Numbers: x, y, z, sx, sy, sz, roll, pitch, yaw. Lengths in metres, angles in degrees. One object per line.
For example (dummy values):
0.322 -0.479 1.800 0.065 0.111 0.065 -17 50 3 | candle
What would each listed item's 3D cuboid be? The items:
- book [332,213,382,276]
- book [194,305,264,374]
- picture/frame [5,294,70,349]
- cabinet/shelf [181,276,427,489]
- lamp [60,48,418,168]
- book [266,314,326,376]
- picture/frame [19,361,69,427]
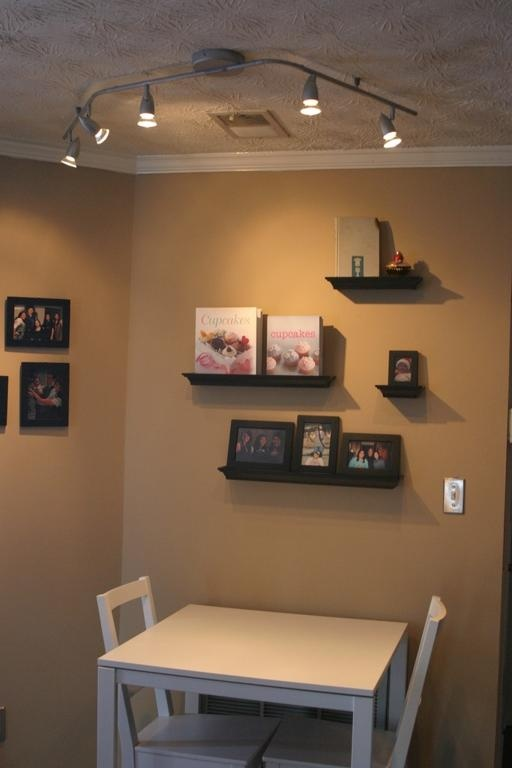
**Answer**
0.403 -0.523 2.457 0.159 0.245 0.121 1 -5 13 | book
-0.105 -0.166 2.463 0.237 0.261 0.081 1 3 15 | book
-0.893 -0.250 2.523 0.205 0.192 0.022 1 -1 -18 | picture/frame
0.230 -0.001 2.481 0.804 0.766 0.189 2 3 11 | cabinet/shelf
-0.124 -0.807 1.933 1.206 0.246 0.607 3 3 13 | lamp
0.146 -0.146 2.422 0.216 0.226 0.073 1 0 15 | book
-0.864 0.045 2.520 0.245 0.376 0.036 0 3 -11 | picture/frame
